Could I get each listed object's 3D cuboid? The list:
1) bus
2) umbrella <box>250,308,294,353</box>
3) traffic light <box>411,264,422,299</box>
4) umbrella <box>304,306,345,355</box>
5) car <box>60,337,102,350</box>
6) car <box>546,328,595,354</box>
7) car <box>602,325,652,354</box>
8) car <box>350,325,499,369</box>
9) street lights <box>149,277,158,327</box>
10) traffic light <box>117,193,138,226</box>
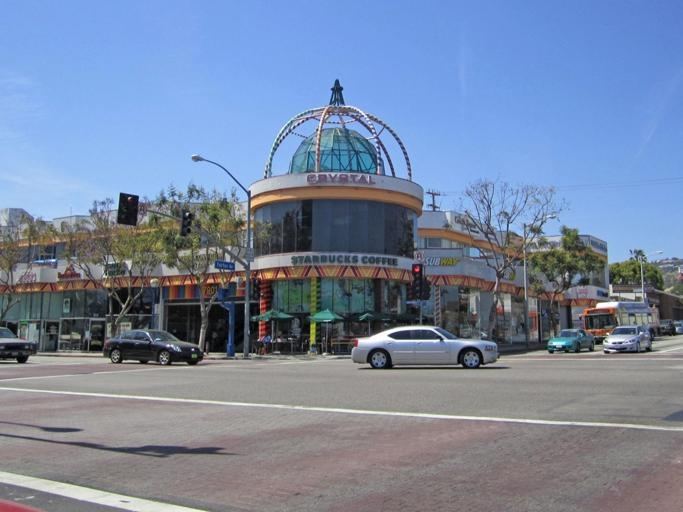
[{"bbox_3d":[23.744,5.360,51.558,8.018,3.300,2.425,3,-9,-38],"label":"bus"},{"bbox_3d":[-4.721,4.984,41.764,2.312,2.468,2.305,7,-9,-39],"label":"umbrella"},{"bbox_3d":[3.999,1.325,32.145,0.630,1.827,0.595,-3,-9,16],"label":"traffic light"},{"bbox_3d":[-1.201,4.844,40.853,2.074,2.980,2.566,-2,-3,44],"label":"umbrella"},{"bbox_3d":[-21.844,7.597,51.860,3.779,1.291,1.334,1,-3,12],"label":"car"},{"bbox_3d":[15.147,5.572,40.640,1.645,1.608,3.845,-10,-13,43],"label":"car"},{"bbox_3d":[16.660,4.843,35.860,2.034,1.638,3.725,-7,-11,32],"label":"car"},{"bbox_3d":[3.172,3.701,24.351,5.461,1.901,2.248,-2,-11,10],"label":"car"},{"bbox_3d":[-15.116,4.166,49.481,0.662,3.183,0.436,-2,-8,10],"label":"street lights"},{"bbox_3d":[-8.884,-1.915,25.578,0.722,1.228,0.560,4,-7,-9],"label":"traffic light"}]
